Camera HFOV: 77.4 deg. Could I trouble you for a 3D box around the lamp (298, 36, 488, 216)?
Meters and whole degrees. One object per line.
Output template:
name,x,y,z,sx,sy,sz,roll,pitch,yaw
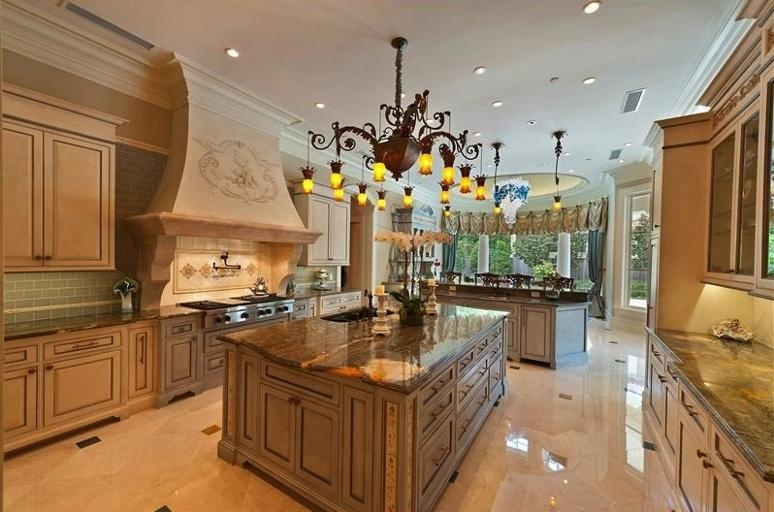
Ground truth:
lamp,0.294,-1.256,6.300,2.286,1.751,2.071,-5,-9,41

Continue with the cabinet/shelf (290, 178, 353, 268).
cabinet/shelf,-1.075,-0.519,7.685,0.624,1.613,1.474,-3,-6,29

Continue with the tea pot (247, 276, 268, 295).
tea pot,-1.889,0.443,7.130,0.222,0.264,0.286,4,8,29

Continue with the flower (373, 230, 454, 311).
flower,0.333,0.267,5.763,0.894,0.998,0.874,-3,0,-20

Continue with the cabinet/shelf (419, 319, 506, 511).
cabinet/shelf,0.748,1.691,4.976,0.467,0.794,1.766,-3,0,22

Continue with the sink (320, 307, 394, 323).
sink,-0.458,0.705,5.803,0.646,0.159,0.454,0,-1,-6

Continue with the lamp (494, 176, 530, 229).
lamp,2.167,-0.971,8.442,0.560,0.804,0.470,0,0,12

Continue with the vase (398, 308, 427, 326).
vase,0.285,0.687,5.456,0.205,0.123,0.206,-2,-7,24
